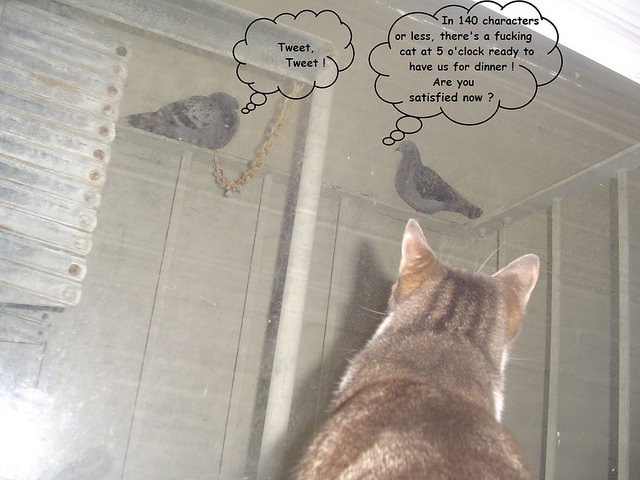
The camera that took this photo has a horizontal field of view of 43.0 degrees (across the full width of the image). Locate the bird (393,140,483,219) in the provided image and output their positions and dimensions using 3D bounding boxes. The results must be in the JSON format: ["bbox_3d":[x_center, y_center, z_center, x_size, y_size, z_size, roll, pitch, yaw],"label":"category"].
[{"bbox_3d":[0.299,-0.135,2.347,0.285,0.228,0.136,16,-20,-9],"label":"bird"}]

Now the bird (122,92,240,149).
[{"bbox_3d":[-0.373,-0.331,2.212,0.303,0.190,0.176,3,18,-36],"label":"bird"}]

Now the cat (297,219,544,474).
[{"bbox_3d":[0.306,0.376,2.274,0.417,0.863,0.445,17,-24,12],"label":"cat"}]
